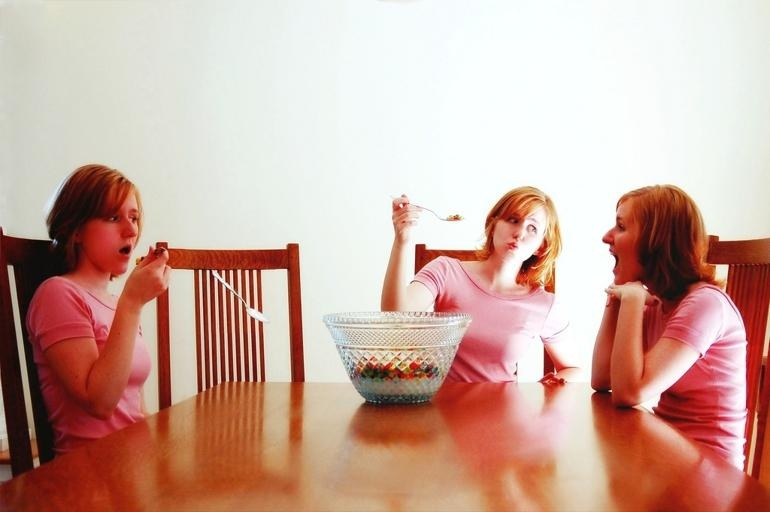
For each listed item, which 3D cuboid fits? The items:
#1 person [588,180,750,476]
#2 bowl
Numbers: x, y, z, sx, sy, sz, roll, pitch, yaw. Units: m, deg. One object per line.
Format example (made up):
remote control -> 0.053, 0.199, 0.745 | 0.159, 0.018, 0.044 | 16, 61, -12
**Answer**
person -> 0.993, 0.242, 2.002 | 0.440, 0.404, 1.333 | 10, 41, 15
bowl -> 0.035, 0.340, 1.844 | 0.370, 0.204, 0.376 | -2, -15, 0
